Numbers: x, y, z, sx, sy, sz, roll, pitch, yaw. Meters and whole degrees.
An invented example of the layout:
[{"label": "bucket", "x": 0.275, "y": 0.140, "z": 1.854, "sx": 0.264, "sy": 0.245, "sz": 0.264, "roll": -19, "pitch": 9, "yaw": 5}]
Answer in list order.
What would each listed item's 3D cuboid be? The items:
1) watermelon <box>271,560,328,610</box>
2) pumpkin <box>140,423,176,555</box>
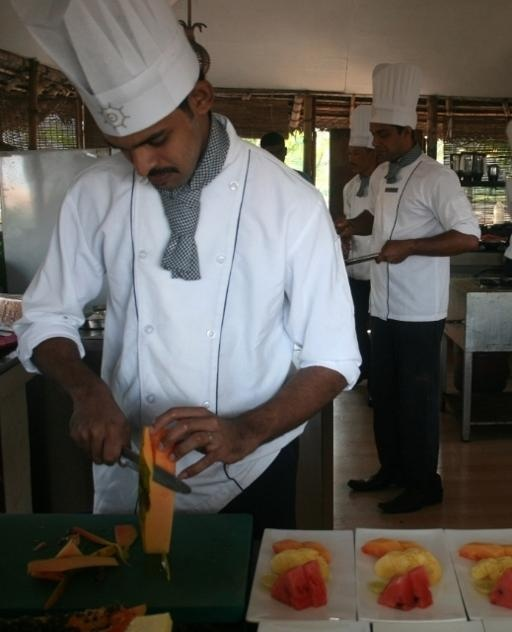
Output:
[{"label": "watermelon", "x": 0.062, "y": 0.346, "z": 0.715, "sx": 0.078, "sy": 0.044, "sz": 0.048, "roll": -4, "pitch": 12, "yaw": -13}, {"label": "pumpkin", "x": -0.145, "y": 0.249, "z": 0.819, "sx": 0.054, "sy": 0.212, "sz": 0.137, "roll": -4, "pitch": 13, "yaw": -12}]
